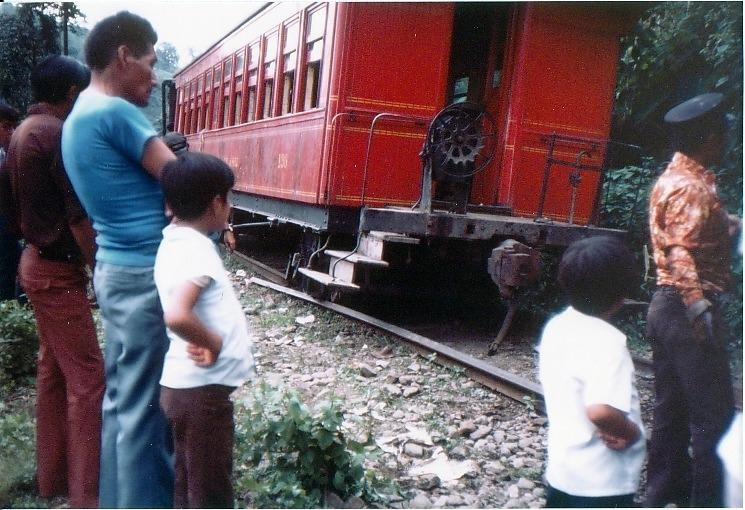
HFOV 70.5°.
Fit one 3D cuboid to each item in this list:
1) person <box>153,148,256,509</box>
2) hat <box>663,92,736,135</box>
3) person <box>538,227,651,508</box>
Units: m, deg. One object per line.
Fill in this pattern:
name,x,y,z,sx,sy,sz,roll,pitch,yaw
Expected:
person,-0.839,0.432,2.656,0.451,1.860,0.501,-3,13,-22
hat,2.040,-0.930,3.326,0.284,0.067,0.270,-14,12,24
person,1.049,0.585,2.518,0.386,1.292,0.401,-2,13,-16
